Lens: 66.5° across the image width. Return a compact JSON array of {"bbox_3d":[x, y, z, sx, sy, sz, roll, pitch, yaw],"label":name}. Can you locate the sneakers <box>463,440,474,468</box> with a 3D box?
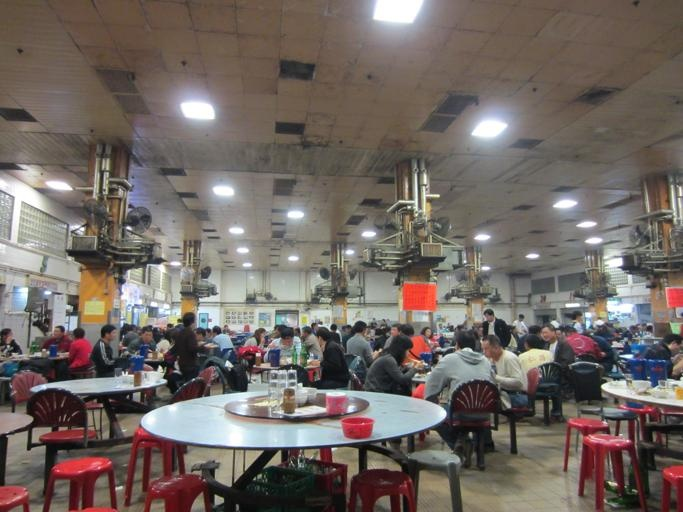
[{"bbox_3d":[1.573,2.478,6.616,0.130,0.142,0.392,-3,-8,5],"label":"sneakers"}]

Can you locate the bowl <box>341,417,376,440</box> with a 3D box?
[{"bbox_3d":[0.128,1.467,4.458,0.264,0.160,0.183,-1,-10,3],"label":"bowl"}]

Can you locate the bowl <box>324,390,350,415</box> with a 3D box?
[{"bbox_3d":[-0.057,1.388,4.914,0.165,0.132,0.205,-1,-9,2],"label":"bowl"}]

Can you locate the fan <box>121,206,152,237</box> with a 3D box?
[{"bbox_3d":[-4.401,-0.805,11.282,0.449,0.660,0.568,4,-11,-23],"label":"fan"}]

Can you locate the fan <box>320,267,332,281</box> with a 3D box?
[{"bbox_3d":[-0.679,0.704,20.219,0.436,0.405,0.515,8,-17,-32],"label":"fan"}]

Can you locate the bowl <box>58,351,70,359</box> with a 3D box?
[{"bbox_3d":[-5.476,1.967,10.320,0.254,0.054,0.237,2,-1,0],"label":"bowl"}]

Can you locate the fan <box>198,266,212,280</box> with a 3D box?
[{"bbox_3d":[-5.148,0.570,19.665,0.328,0.532,1.062,2,-10,-11],"label":"fan"}]

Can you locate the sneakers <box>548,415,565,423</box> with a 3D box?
[{"bbox_3d":[3.555,2.689,8.641,0.312,0.106,0.113,5,-11,-31],"label":"sneakers"}]

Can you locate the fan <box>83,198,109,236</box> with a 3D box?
[{"bbox_3d":[-4.715,-0.759,9.997,0.422,0.669,0.292,5,-11,-24],"label":"fan"}]
